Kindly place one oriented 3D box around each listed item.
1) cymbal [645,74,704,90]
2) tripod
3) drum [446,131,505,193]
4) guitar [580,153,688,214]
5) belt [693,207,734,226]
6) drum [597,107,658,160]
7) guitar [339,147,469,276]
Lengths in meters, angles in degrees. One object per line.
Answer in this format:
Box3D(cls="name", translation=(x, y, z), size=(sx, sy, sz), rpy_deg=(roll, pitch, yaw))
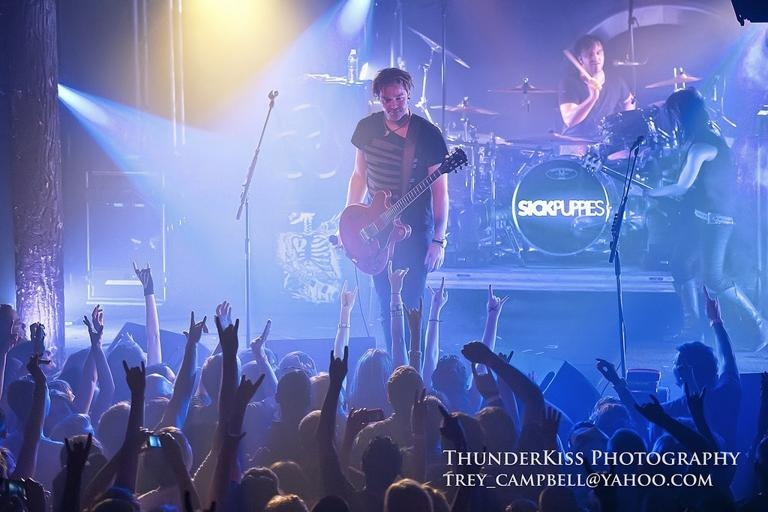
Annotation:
Box3D(cls="cymbal", translation=(4.207, -2.562, 10.919), size=(0.433, 0.103, 0.426), rpy_deg=(-26, 24, -35))
Box3D(cls="tripod", translation=(1.352, -0.611, 9.785), size=(1.014, 1.311, 0.315), rpy_deg=(1, 1, 11))
Box3D(cls="drum", translation=(1.301, -1.266, 10.180), size=(0.803, 0.849, 0.844), rpy_deg=(1, 3, 20))
Box3D(cls="guitar", translation=(2.650, -0.867, 8.479), size=(1.238, 0.258, 0.638), rpy_deg=(29, -13, -35))
Box3D(cls="belt", translation=(3.794, -0.457, 8.824), size=(0.518, 0.151, 0.163), rpy_deg=(4, 5, 18))
Box3D(cls="drum", translation=(2.945, -1.457, 9.369), size=(0.792, 0.566, 0.763), rpy_deg=(0, 2, 0))
Box3D(cls="guitar", translation=(0.048, -0.394, 7.313), size=(1.675, 0.775, 0.201), rpy_deg=(-43, -9, 15))
